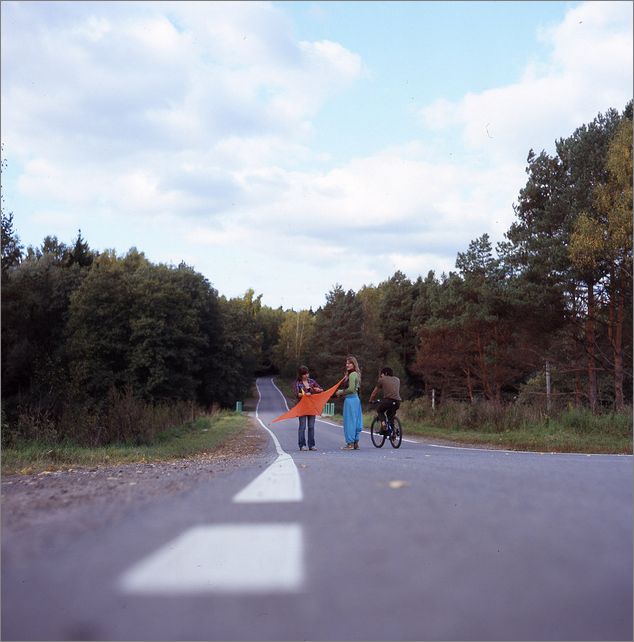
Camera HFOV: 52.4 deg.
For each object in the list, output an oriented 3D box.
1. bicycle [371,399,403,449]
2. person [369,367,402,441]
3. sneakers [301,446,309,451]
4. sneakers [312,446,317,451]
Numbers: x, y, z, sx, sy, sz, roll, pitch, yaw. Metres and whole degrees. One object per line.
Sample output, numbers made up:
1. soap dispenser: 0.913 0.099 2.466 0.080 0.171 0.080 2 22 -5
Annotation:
1. bicycle: 1.584 2.333 14.235 0.575 1.052 1.391 2 -6 -12
2. person: 1.524 1.719 13.658 0.474 1.445 0.658 -1 -2 5
3. sneakers: -0.248 2.658 13.393 0.096 0.099 0.206 3 -1 1
4. sneakers: -0.067 2.639 13.230 0.052 0.077 0.146 3 0 4
